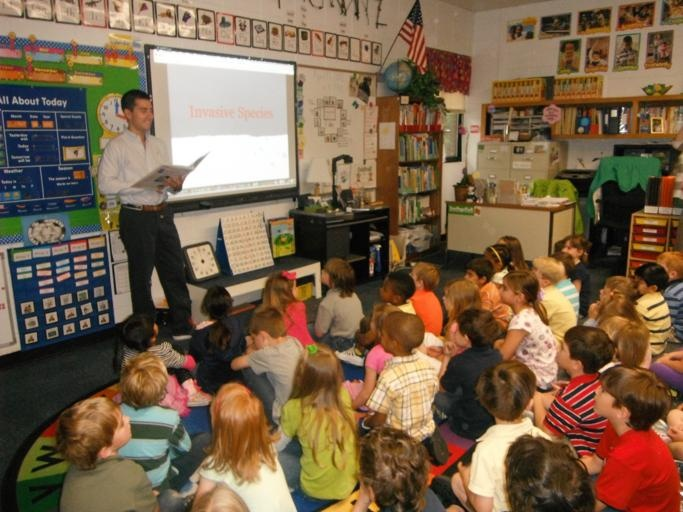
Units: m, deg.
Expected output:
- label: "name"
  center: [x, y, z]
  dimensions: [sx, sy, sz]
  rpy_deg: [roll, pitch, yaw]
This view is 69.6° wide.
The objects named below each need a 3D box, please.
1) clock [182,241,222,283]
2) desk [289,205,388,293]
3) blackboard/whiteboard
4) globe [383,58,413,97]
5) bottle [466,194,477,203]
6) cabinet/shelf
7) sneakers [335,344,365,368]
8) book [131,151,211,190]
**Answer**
- label: "clock"
  center: [-1.397, 0.069, 4.883]
  dimensions: [0.087, 0.365, 0.355]
  rpy_deg: [-19, 11, 37]
- label: "desk"
  center: [-0.050, -0.227, 6.105]
  dimensions: [0.810, 1.092, 1.547]
  rpy_deg: [7, 12, 40]
- label: "blackboard/whiteboard"
  center: [-0.109, -1.613, 6.170]
  dimensions: [0.029, 1.772, 1.693]
  rpy_deg: [5, 9, 41]
- label: "globe"
  center: [0.771, -2.436, 6.700]
  dimensions: [0.366, 0.447, 0.376]
  rpy_deg: [-8, 18, -24]
- label: "bottle"
  center: [1.801, -0.790, 6.854]
  dimensions: [0.118, 0.139, 0.137]
  rpy_deg: [-3, -3, 37]
- label: "cabinet/shelf"
  center: [2.587, -0.948, 6.672]
  dimensions: [2.555, 1.801, 0.729]
  rpy_deg: [4, 7, 30]
- label: "sneakers"
  center: [0.018, 0.777, 3.913]
  dimensions: [0.308, 0.139, 0.106]
  rpy_deg: [15, 12, 42]
- label: "book"
  center: [-1.414, -0.644, 3.978]
  dimensions: [0.307, 0.139, 0.447]
  rpy_deg: [-27, -10, 34]
